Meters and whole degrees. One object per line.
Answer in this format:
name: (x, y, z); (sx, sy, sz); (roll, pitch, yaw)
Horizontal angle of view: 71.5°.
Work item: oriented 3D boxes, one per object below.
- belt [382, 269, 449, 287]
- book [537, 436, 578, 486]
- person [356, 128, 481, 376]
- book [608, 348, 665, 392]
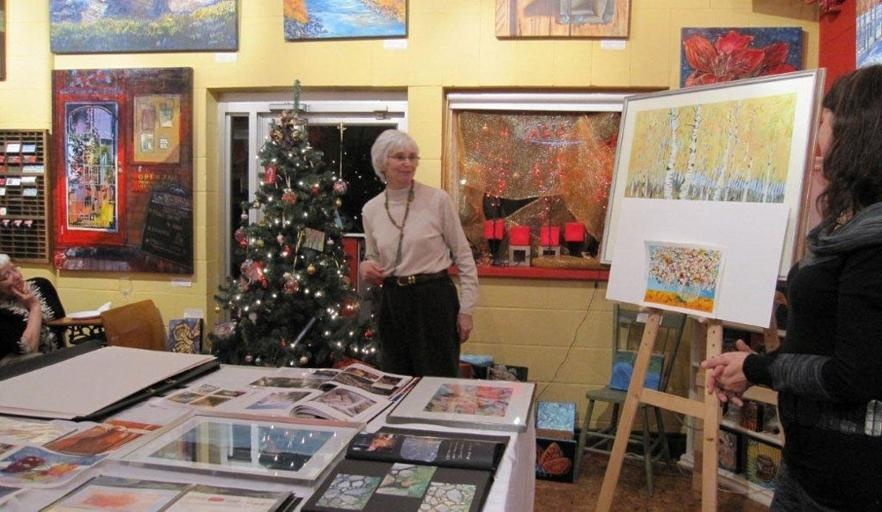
belt: (-0.164, 0.144, 3.981); (0.423, 0.106, 0.133); (0, 7, -3)
book: (0.820, 1.435, 4.310); (0.362, 0.301, 0.052); (2, 4, 14)
person: (-0.165, 0.256, 4.118); (0.824, 2.096, 0.654); (2, 20, 18)
book: (1.344, 0.781, 4.201); (0.378, 0.360, 0.126); (4, -27, 11)
